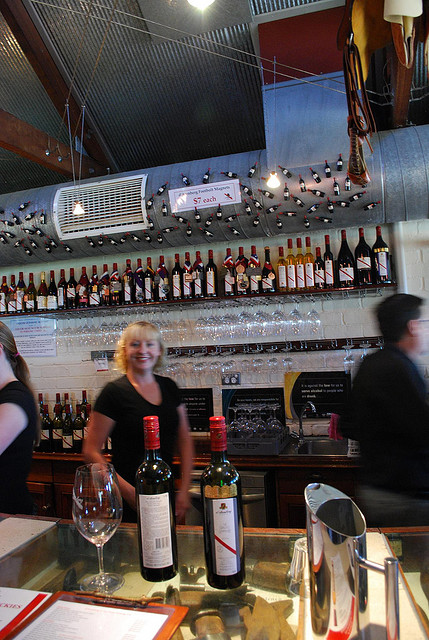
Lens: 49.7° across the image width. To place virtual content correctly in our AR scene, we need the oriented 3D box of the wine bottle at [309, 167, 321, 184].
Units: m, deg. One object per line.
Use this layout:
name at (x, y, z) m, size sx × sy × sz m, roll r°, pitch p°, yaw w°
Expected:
wine bottle at (0.586, -0.838, 2.674) m, size 0.059 × 0.094 × 0.029 m, roll 1°, pitch -11°, yaw -15°

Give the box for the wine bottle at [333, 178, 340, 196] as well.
wine bottle at (0.705, -0.770, 2.673) m, size 0.031 × 0.087 × 0.047 m, roll -5°, pitch -11°, yaw 16°

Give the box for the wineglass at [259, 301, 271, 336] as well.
wineglass at (0.356, -0.010, 3.308) m, size 0.068 × 0.231 × 0.133 m, roll -7°, pitch -11°, yaw 26°

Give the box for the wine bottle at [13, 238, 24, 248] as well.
wine bottle at (-1.497, -0.578, 3.507) m, size 0.110 × 0.030 × 0.034 m, roll -32°, pitch -3°, yaw 26°

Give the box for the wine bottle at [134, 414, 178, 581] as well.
wine bottle at (-0.108, 0.321, 0.842) m, size 0.070 × 0.278 × 0.070 m, roll -4°, pitch -4°, yaw 0°

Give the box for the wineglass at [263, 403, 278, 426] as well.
wineglass at (0.378, 0.652, 3.185) m, size 0.104 × 0.129 × 0.108 m, roll -6°, pitch -8°, yaw 40°

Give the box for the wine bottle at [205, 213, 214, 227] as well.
wine bottle at (-0.033, -0.637, 2.972) m, size 0.033 × 0.065 × 0.062 m, roll 5°, pitch -13°, yaw -35°

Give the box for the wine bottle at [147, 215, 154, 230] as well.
wine bottle at (-0.427, -0.652, 3.091) m, size 0.031 × 0.082 × 0.056 m, roll -7°, pitch -11°, yaw 25°

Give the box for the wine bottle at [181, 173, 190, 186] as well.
wine bottle at (-0.189, -0.897, 2.960) m, size 0.056 × 0.093 × 0.018 m, roll -8°, pitch -12°, yaw 29°

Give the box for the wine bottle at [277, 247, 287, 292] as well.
wine bottle at (0.455, -0.332, 3.105) m, size 0.056 × 0.337 × 0.172 m, roll -4°, pitch -10°, yaw 10°

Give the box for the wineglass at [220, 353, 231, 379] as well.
wineglass at (0.083, 0.369, 3.381) m, size 0.076 × 0.118 × 0.051 m, roll -3°, pitch -10°, yaw 8°

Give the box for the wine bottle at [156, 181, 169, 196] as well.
wine bottle at (-0.345, -0.858, 3.013) m, size 0.084 × 0.087 × 0.029 m, roll -8°, pitch -12°, yaw 30°

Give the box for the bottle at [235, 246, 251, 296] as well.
bottle at (0.193, -0.314, 3.183) m, size 0.106 × 0.359 × 0.252 m, roll -2°, pitch -10°, yaw 3°

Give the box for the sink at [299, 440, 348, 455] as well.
sink at (0.706, 0.819, 2.986) m, size 0.332 × 0.083 × 0.194 m, roll -3°, pitch -10°, yaw 3°

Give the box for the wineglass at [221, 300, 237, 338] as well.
wineglass at (0.103, -0.010, 3.324) m, size 0.100 × 0.243 × 0.221 m, roll -2°, pitch -10°, yaw 1°

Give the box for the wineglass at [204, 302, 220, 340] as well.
wineglass at (-0.018, 0.060, 3.411) m, size 0.107 × 0.158 × 0.155 m, roll -2°, pitch -10°, yaw -2°

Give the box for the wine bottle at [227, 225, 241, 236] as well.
wine bottle at (0.127, -0.578, 2.975) m, size 0.102 × 0.049 × 0.045 m, roll 8°, pitch -14°, yaw -44°

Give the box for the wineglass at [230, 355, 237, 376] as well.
wineglass at (0.137, 0.347, 3.372) m, size 0.048 × 0.115 × 0.026 m, roll 0°, pitch -10°, yaw -8°

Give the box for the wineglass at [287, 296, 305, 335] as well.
wineglass at (0.567, 0.018, 3.222) m, size 0.123 × 0.154 × 0.157 m, roll -4°, pitch -10°, yaw 11°

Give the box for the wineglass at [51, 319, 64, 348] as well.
wineglass at (-1.337, 0.114, 3.891) m, size 0.161 × 0.234 × 0.080 m, roll -9°, pitch -12°, yaw 32°

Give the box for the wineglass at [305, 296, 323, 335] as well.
wineglass at (0.687, 0.011, 3.194) m, size 0.108 × 0.153 × 0.164 m, roll -5°, pitch -11°, yaw 17°

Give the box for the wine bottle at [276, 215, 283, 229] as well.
wine bottle at (0.400, -0.601, 2.844) m, size 0.037 × 0.056 × 0.089 m, roll -4°, pitch -10°, yaw 9°

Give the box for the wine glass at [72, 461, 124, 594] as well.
wine glass at (-0.214, 0.371, 0.865) m, size 0.087 × 0.215 × 0.229 m, roll 0°, pitch -10°, yaw -11°

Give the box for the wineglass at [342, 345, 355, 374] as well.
wineglass at (0.915, 0.283, 3.146) m, size 0.080 × 0.162 × 0.055 m, roll -6°, pitch -11°, yaw 22°

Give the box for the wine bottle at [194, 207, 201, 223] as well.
wine bottle at (-0.112, -0.673, 2.973) m, size 0.035 × 0.074 × 0.068 m, roll -6°, pitch -11°, yaw 21°

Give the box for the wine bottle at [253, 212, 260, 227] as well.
wine bottle at (0.259, -0.624, 2.884) m, size 0.030 × 0.065 × 0.083 m, roll 0°, pitch -11°, yaw -13°

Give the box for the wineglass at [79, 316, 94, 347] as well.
wineglass at (-1.048, 0.093, 3.768) m, size 0.163 × 0.236 × 0.143 m, roll -3°, pitch -10°, yaw 7°

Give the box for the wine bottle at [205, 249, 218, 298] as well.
wine bottle at (-0.023, -0.331, 3.307) m, size 0.117 × 0.335 × 0.120 m, roll -2°, pitch 7°, yaw 0°

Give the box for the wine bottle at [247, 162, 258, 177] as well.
wine bottle at (0.231, -0.915, 2.805) m, size 0.054 × 0.095 × 0.031 m, roll -2°, pitch -10°, yaw 0°

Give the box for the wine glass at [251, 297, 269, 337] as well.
wine glass at (0.330, -0.021, 3.366) m, size 0.113 × 0.296 × 0.113 m, roll -5°, pitch 14°, yaw -15°

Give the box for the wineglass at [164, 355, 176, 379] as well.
wineglass at (-0.321, 0.329, 3.349) m, size 0.084 × 0.175 × 0.364 m, roll -1°, pitch -10°, yaw -7°

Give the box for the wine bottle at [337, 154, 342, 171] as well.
wine bottle at (0.709, -0.896, 2.626) m, size 0.029 × 0.084 × 0.060 m, roll -5°, pitch -11°, yaw 16°
